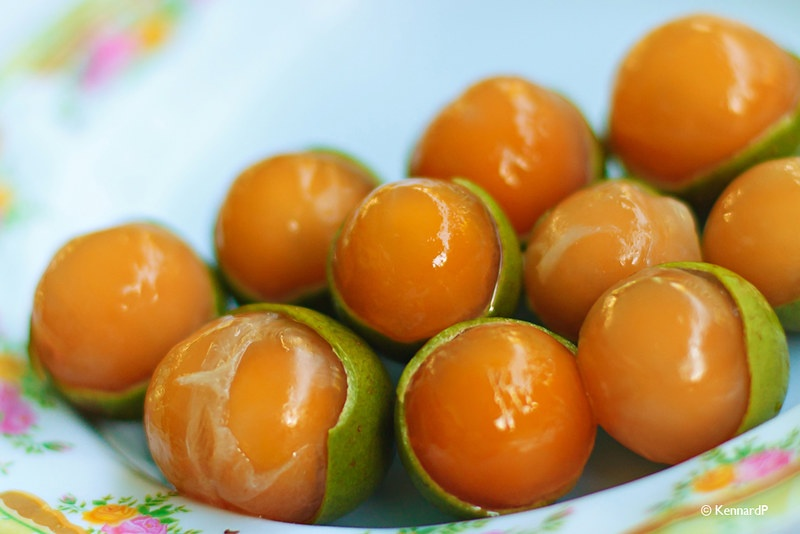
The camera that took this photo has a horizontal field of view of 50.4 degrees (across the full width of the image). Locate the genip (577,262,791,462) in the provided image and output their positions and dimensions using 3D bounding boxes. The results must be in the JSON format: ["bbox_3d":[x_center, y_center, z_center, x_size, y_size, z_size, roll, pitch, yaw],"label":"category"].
[{"bbox_3d":[0.305,0.100,0.920,0.212,0.134,0.180,19,51,25],"label":"genip"}]

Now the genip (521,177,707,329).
[{"bbox_3d":[0.261,-0.020,1.038,0.164,0.149,0.187,30,73,28],"label":"genip"}]

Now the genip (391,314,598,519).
[{"bbox_3d":[0.101,0.162,0.922,0.213,0.116,0.176,7,47,15],"label":"genip"}]
